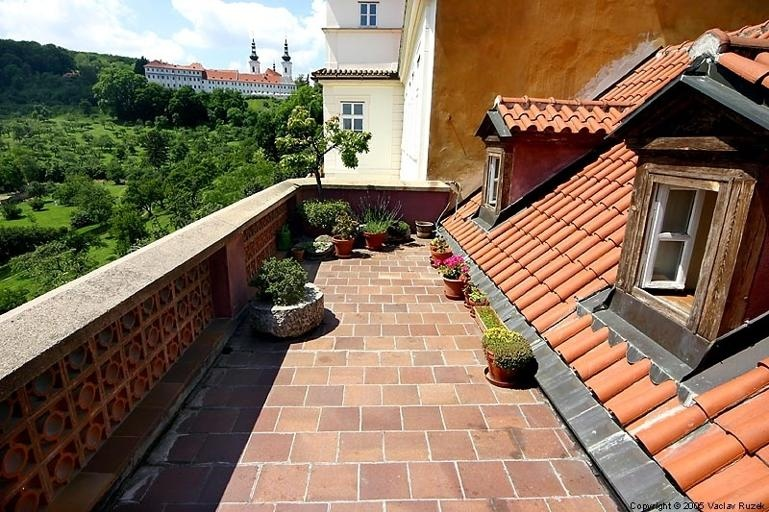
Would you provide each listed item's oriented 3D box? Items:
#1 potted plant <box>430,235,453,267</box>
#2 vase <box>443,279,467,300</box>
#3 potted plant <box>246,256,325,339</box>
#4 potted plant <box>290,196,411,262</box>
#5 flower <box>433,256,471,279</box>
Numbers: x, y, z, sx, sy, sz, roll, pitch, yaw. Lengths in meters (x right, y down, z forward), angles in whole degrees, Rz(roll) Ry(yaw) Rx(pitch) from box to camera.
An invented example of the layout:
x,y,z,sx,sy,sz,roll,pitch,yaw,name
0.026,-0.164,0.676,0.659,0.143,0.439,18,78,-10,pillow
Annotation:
x,y,z,sx,sy,sz,roll,pitch,yaw,name
1.311,-0.133,10.890,0.584,0.629,0.629,-2,8,-8,potted plant
1.380,0.618,9.194,0.408,0.315,0.409,-2,9,-11,vase
-1.674,0.579,7.975,1.266,1.130,1.277,4,17,10,potted plant
-0.901,-0.868,12.793,1.891,1.156,3.412,25,32,39,potted plant
1.371,0.226,9.031,0.428,0.293,0.428,-10,-4,-21,flower
